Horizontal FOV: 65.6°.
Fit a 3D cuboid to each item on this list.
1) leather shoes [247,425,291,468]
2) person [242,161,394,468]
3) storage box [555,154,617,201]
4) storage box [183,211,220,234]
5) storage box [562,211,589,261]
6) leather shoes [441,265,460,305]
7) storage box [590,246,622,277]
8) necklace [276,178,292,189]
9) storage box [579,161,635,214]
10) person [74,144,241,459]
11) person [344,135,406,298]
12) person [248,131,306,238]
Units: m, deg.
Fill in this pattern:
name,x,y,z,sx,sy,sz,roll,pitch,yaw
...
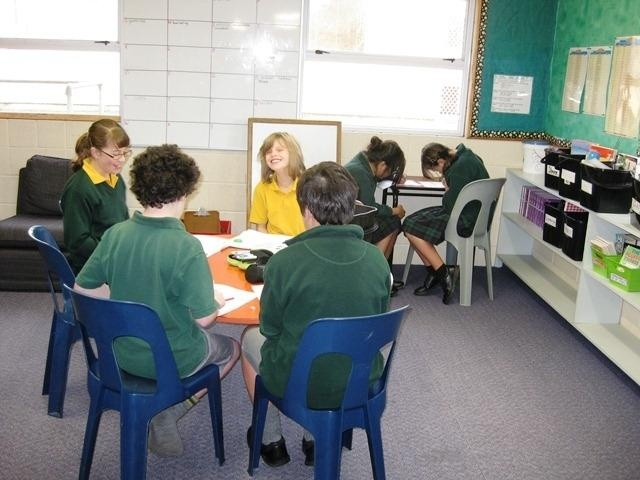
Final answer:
name,x,y,z,sx,sy,sz,roll,pitch,yaw
leather shoes,-0.255,1.073,2.573,0.149,0.123,0.279,-5,23,-27
person,-0.070,0.464,2.194,0.681,1.550,0.433,9,16,29
storage box,1.972,-0.501,3.813,0.250,0.365,0.470,4,12,21
storage box,-0.854,-0.112,3.715,0.234,0.174,0.190,2,16,-4
storage box,1.925,-0.020,3.739,0.175,0.360,0.256,8,15,21
leather shoes,1.158,0.380,4.476,0.152,0.418,0.128,4,-1,-5
storage box,1.993,0.160,3.509,0.145,0.223,0.276,0,5,6
necklace,-0.238,-0.394,3.521,0.067,0.059,0.073,-1,10,-20
storage box,1.981,-0.357,3.493,0.339,0.301,0.296,-5,14,-29
person,-0.698,0.409,2.212,0.656,1.594,0.445,-2,15,-11
person,0.500,-0.272,4.598,0.589,1.323,0.461,-1,21,8
person,-0.273,-0.354,3.511,0.422,0.821,0.437,2,13,2
